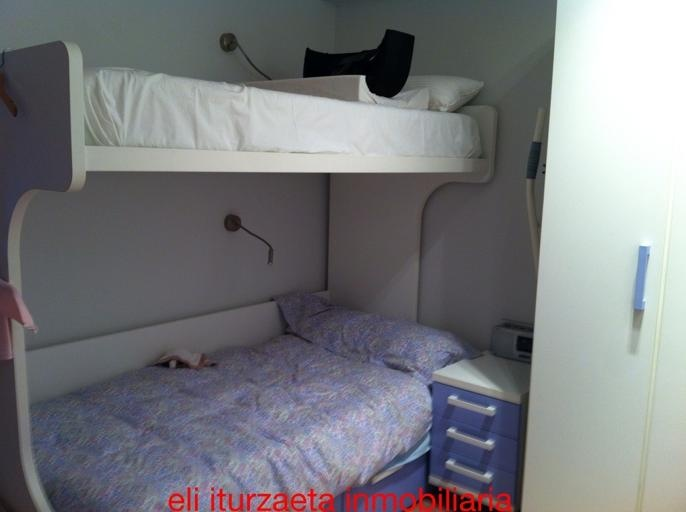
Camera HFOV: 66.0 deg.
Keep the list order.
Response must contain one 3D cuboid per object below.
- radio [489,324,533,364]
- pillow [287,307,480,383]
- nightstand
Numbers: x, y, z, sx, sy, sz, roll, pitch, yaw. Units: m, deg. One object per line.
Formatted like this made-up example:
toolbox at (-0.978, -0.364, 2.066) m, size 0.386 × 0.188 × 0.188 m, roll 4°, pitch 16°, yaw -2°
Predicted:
radio at (0.968, 0.474, 3.019) m, size 0.159 × 0.207 × 0.278 m, roll -10°, pitch 17°, yaw -41°
pillow at (0.213, 0.499, 3.171) m, size 0.739 × 0.144 × 0.443 m, roll 11°, pitch 23°, yaw 38°
nightstand at (0.703, 0.900, 3.006) m, size 0.520 × 0.832 × 0.647 m, roll 4°, pitch 6°, yaw 36°
